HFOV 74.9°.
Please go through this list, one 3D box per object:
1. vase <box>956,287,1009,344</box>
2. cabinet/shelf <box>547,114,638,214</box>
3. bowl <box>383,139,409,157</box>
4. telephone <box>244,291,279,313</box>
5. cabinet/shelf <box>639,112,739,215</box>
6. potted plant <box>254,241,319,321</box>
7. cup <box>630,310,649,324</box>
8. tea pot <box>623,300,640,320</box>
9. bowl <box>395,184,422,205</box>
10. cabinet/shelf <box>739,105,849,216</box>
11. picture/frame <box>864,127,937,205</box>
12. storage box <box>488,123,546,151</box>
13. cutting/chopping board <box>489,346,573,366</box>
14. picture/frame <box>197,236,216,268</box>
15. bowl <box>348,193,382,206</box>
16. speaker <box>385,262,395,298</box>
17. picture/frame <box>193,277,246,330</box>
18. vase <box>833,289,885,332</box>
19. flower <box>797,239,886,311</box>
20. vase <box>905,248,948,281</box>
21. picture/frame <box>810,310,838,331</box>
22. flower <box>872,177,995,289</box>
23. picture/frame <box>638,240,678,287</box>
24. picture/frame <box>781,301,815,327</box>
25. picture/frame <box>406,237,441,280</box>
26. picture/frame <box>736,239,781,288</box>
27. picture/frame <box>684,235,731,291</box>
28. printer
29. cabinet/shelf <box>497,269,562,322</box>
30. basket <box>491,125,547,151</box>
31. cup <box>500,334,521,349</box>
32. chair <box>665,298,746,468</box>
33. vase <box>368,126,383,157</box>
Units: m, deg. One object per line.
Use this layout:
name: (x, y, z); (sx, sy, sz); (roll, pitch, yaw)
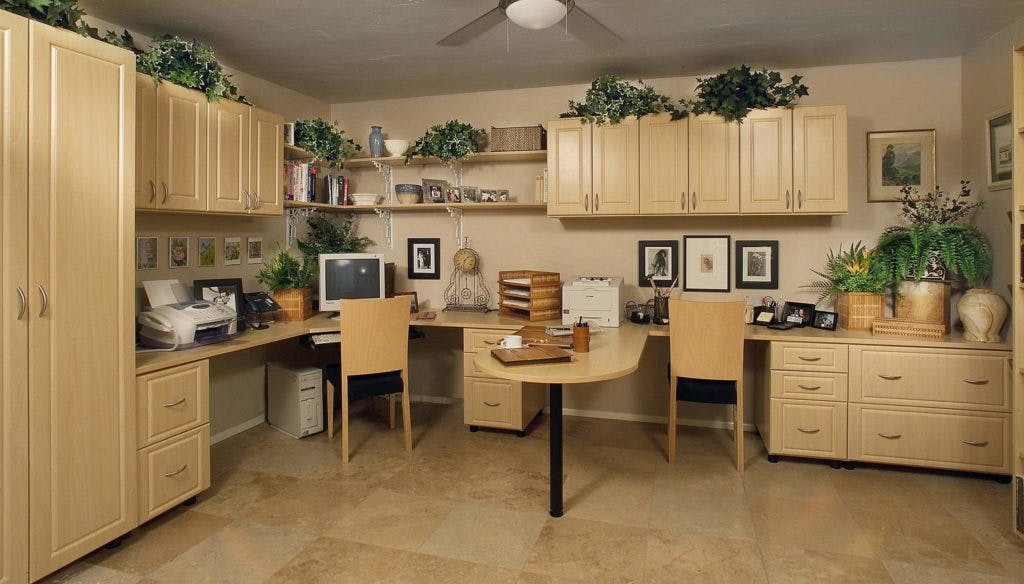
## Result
vase: (3.756, 0.194, 5.531); (0.466, 0.453, 0.436); (0, -2, 25)
cabinet/shelf: (0.771, -1.178, 6.094); (1.087, 0.873, 0.391); (0, 2, 10)
bowl: (-1.152, -1.430, 6.700); (0.226, 0.127, 0.207); (0, 0, 0)
telephone: (-2.279, 0.082, 6.014); (0.262, 0.081, 0.193); (13, 13, 39)
cabinet/shelf: (1.617, -1.164, 5.936); (1.076, 0.835, 0.422); (1, 2, 12)
potted plant: (-2.195, -0.120, 6.528); (0.692, 0.738, 0.668); (-1, 3, 0)
cup: (1.182, 0.225, 6.163); (0.207, 0.122, 0.112); (2, 5, 33)
tea pot: (1.123, 0.176, 6.306); (0.175, 0.214, 0.139); (1, 2, 22)
bowl: (-1.016, -0.972, 6.623); (0.243, 0.143, 0.223); (-1, -2, 0)
cabinet/shelf: (2.471, -1.168, 5.796); (1.114, 0.928, 0.441); (0, 2, 12)
picture/frame: (3.502, -1.135, 5.959); (0.859, 0.852, 0.038); (0, 0, 11)
storage box: (0.069, -1.458, 6.366); (0.456, 0.206, 0.308); (1, 5, 10)
cutting/chopping board: (0.141, 0.469, 4.982); (0.556, 0.094, 0.296); (-3, 6, -16)
picture/frame: (-2.710, -0.360, 5.941); (0.032, 0.259, 0.165); (1, 7, 25)
bowl: (-1.488, -0.929, 6.765); (0.189, 0.066, 0.201); (-1, 1, 0)
speaker: (-1.240, -0.137, 6.828); (0.105, 0.329, 0.349); (-4, 6, -8)
picture/frame: (-2.465, 0.107, 5.591); (0.039, 0.501, 0.501); (-8, -8, 43)
vase: (3.027, 0.161, 5.835); (0.371, 0.331, 0.278); (1, 7, 29)
flower: (3.009, -0.176, 5.937); (0.654, 0.387, 0.536); (-1, 1, 5)
vase: (3.511, -0.237, 5.656); (0.298, 0.194, 0.285); (2, 6, 43)
picture/frame: (2.729, 0.256, 5.834); (0.190, 0.158, 0.016); (5, -12, 37)
flower: (3.630, -0.487, 5.708); (0.902, 0.902, 0.659); (0, 7, 17)
picture/frame: (1.422, -0.284, 6.398); (0.521, 0.513, 0.042); (1, 1, 9)
picture/frame: (2.579, 0.202, 5.989); (0.238, 0.204, 0.083); (3, -4, 28)
picture/frame: (-0.898, -0.363, 6.932); (0.526, 0.533, 0.045); (0, 5, 6)
picture/frame: (2.318, -0.281, 6.222); (0.544, 0.556, 0.025); (0, 2, 10)
picture/frame: (1.869, -0.284, 6.310); (0.621, 0.628, 0.045); (0, 1, 9)
printer: (-2.621, 0.202, 5.399); (0.616, 0.457, 0.746); (1, 4, 17)
cabinet/shelf: (0.161, 0.045, 6.471); (0.505, 0.476, 0.659); (0, 0, -42)
basket: (0.051, -1.458, 6.369); (0.459, 0.201, 0.296); (1, 3, 11)
cup: (-0.005, 0.388, 5.107); (0.144, 0.081, 0.088); (-2, 2, 0)
chair: (1.632, 0.763, 5.630); (0.628, 1.436, 0.264); (-1, 7, 11)
vase: (-1.359, -1.511, 6.733); (0.155, 0.331, 0.283); (-4, 6, -10)
